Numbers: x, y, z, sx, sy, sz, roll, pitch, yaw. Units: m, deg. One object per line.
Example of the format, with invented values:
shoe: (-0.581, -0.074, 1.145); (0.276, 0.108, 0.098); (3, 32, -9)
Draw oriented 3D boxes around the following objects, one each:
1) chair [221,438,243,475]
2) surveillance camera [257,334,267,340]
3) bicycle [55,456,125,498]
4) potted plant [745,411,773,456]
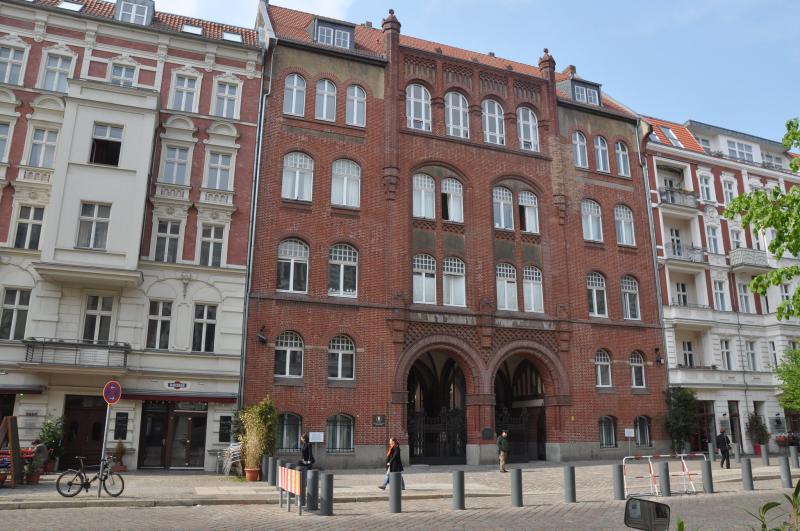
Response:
chair: (-8.402, 9.720, 31.669); (0.681, 1.402, 1.883); (17, -32, -30)
surveillance camera: (-7.542, 3.965, 34.647); (0.355, 0.132, 0.403); (-9, -37, 29)
bicycle: (-11.879, 8.252, 24.428); (2.650, 1.435, 1.312); (1, -10, -2)
potted plant: (24.837, 11.654, 43.890); (1.575, 2.735, 1.076); (13, -22, -35)
